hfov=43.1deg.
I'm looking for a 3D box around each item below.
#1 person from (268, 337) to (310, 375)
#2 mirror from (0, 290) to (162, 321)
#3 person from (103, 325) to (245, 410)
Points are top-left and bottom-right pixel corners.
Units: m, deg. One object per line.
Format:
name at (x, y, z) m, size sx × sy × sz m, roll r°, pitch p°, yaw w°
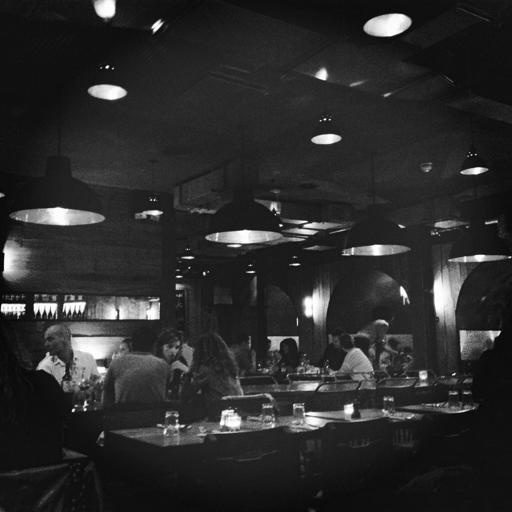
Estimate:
person at (0.622, 2.050, 13.058) m, size 0.531 × 1.035 × 0.737 m, roll 5°, pitch -18°, yaw 3°
mirror at (-2.243, 0.676, 8.512) m, size 2.115 × 0.393 × 0.139 m, roll 1°, pitch 5°, yaw -38°
person at (-0.847, 1.043, 6.071) m, size 1.245 × 0.878 × 0.505 m, roll 4°, pitch -33°, yaw -19°
